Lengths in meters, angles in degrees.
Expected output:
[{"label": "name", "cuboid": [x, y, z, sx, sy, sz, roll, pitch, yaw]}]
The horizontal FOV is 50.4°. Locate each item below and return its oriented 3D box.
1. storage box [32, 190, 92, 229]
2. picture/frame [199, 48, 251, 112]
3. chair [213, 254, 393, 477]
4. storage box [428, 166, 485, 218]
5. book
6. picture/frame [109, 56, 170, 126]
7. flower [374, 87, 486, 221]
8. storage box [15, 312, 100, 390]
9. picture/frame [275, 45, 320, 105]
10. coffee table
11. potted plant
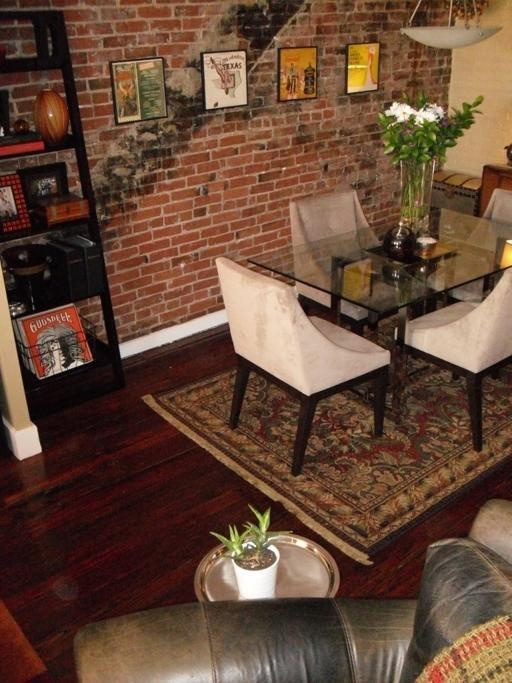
[{"label": "storage box", "cuboid": [-1.006, -0.675, 2.751, 0.250, 0.118, 0.172, -29, 46, -36]}, {"label": "picture/frame", "cuboid": [-0.194, -1.714, 3.553, 0.397, 0.340, 0.040, 16, 28, 35]}, {"label": "chair", "cuboid": [0.244, 0.043, 2.647, 0.806, 0.963, 0.773, -1, 27, 0]}, {"label": "storage box", "cuboid": [1.955, -1.429, 5.148, 0.383, 0.292, 0.521, -28, 38, -26]}, {"label": "book", "cuboid": [-1.135, 0.005, 3.000, 0.373, 0.352, 0.132, -26, 24, -32]}, {"label": "picture/frame", "cuboid": [-0.696, -1.482, 3.184, 0.396, 0.363, 0.032, -22, 35, -37]}, {"label": "flower", "cuboid": [0.833, -0.905, 2.754, 0.369, 0.596, 0.386, 14, 32, 33]}, {"label": "storage box", "cuboid": [-1.159, 0.005, 3.080, 0.132, 0.345, 0.368, 0, 15, 36]}, {"label": "picture/frame", "cuboid": [0.303, -1.931, 3.929, 0.038, 0.351, 0.406, -18, 31, -33]}, {"label": "coffee table", "cuboid": [0.640, -0.064, 2.740, 1.010, 0.484, 0.547, -30, 52, -23]}, {"label": "potted plant", "cuboid": [-0.025, 0.506, 1.294, 0.142, 0.214, 0.141, -12, 15, -39]}]
